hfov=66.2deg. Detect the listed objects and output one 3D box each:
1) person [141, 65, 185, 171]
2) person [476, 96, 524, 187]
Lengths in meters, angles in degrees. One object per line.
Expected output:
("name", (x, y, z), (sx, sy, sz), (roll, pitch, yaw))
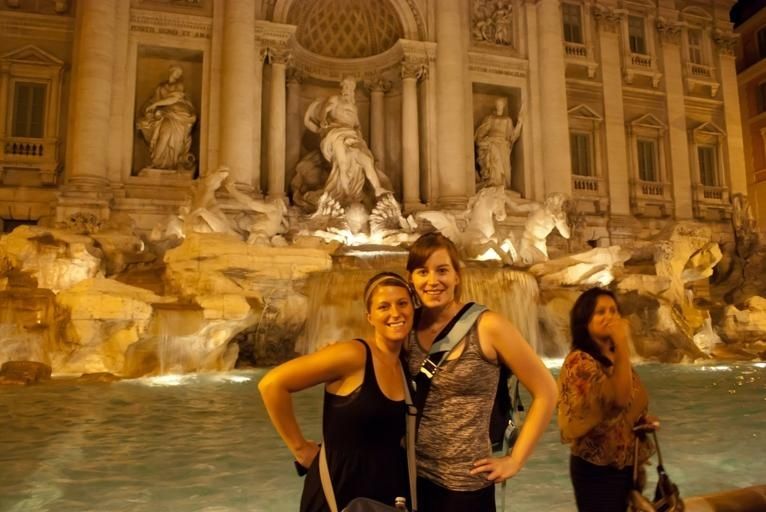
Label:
("person", (-6.436, -4.084, 17.473), (1.410, 3.097, 0.569), (1, 2, -16))
("person", (3.990, -3.831, 20.372), (1.529, 2.967, 0.816), (0, 3, -27))
